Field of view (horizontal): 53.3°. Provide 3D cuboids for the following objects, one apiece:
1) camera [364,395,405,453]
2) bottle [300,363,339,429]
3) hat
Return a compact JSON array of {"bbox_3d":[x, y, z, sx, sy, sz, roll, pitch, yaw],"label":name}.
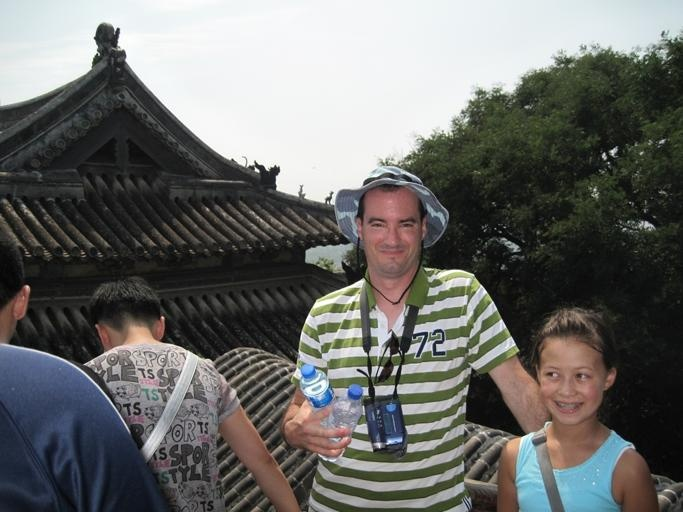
[{"bbox_3d":[0.249,0.980,3.940,0.221,0.335,0.105,-9,-12,3],"label":"camera"},{"bbox_3d":[-0.150,0.724,3.737,0.184,0.246,0.268,-8,-13,-3],"label":"bottle"},{"bbox_3d":[0.263,-0.280,4.464,0.638,0.350,0.679,15,-41,-7],"label":"hat"}]
